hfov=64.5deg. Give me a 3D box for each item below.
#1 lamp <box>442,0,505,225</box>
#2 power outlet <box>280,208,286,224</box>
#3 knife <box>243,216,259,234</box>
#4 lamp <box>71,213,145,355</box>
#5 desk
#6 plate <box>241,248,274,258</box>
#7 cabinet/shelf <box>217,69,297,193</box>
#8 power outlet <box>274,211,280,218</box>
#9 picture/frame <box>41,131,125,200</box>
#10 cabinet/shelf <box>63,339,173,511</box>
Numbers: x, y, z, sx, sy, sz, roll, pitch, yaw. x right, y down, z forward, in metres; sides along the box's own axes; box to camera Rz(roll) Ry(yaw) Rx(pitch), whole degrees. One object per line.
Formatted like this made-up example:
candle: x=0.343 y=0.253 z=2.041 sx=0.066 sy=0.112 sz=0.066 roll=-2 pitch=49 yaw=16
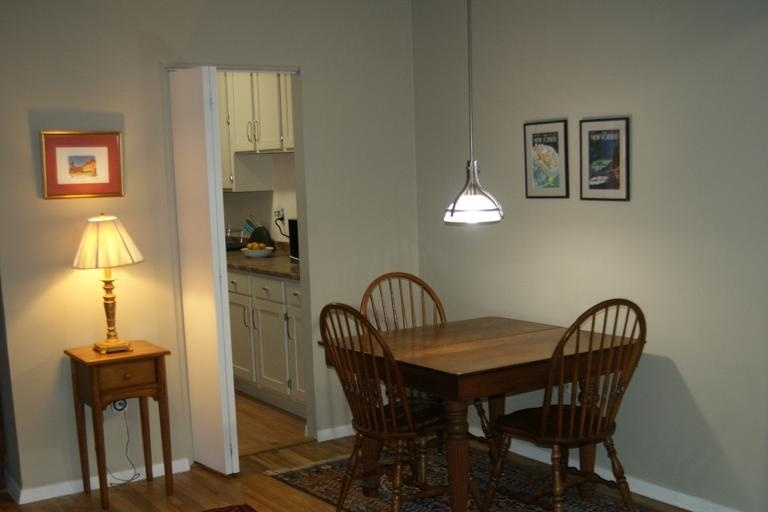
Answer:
lamp: x=0.599 y=-1.048 z=4.034 sx=0.332 sy=1.603 sz=1.445 roll=-1 pitch=8 yaw=10
power outlet: x=-1.058 y=-0.419 z=6.376 sx=0.028 sy=0.116 sz=0.114 roll=3 pitch=0 yaw=-41
knife: x=-1.485 y=-0.335 z=6.739 sx=0.179 sy=0.206 sz=0.171 roll=-11 pitch=27 yaw=-37
lamp: x=-1.840 y=0.174 z=4.072 sx=0.397 sy=0.886 sz=0.413 roll=-10 pitch=12 yaw=-42
desk: x=0.597 y=0.813 z=3.740 sx=1.296 sy=1.093 sz=1.142 roll=2 pitch=9 yaw=27
plate: x=-1.282 y=-0.031 z=6.128 sx=0.309 sy=0.096 sz=0.170 roll=-2 pitch=8 yaw=5
cabinet/shelf: x=-1.210 y=-1.217 z=5.757 sx=0.464 sy=1.231 sz=1.284 roll=-11 pitch=13 yaw=-41
power outlet: x=-1.120 y=-0.434 z=6.434 sx=0.056 sy=0.069 sz=0.102 roll=0 pitch=-2 yaw=-33
picture/frame: x=-2.049 y=-0.614 z=4.090 sx=0.459 sy=0.409 sz=0.032 roll=-5 pitch=6 yaw=-31
cabinet/shelf: x=-1.755 y=1.098 z=4.118 sx=0.574 sy=1.015 sz=0.559 roll=-8 pitch=10 yaw=-32
